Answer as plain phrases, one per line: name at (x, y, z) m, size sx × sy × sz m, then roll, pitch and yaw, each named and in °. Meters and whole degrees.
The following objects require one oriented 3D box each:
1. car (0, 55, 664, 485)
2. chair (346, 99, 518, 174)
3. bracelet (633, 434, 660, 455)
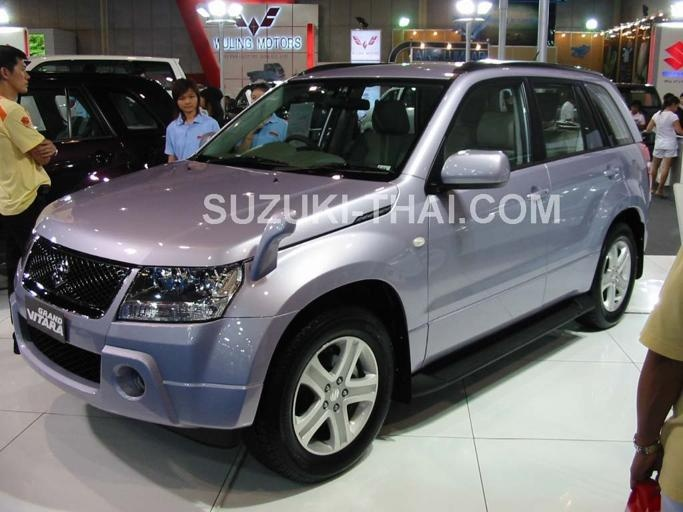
car at (0.172, -0.081, 3.154) m, size 3.662 × 1.889 × 2.271 m, roll -9°, pitch 14°, yaw -41°
chair at (0.576, -0.749, 2.926) m, size 0.898 × 0.576 × 0.550 m, roll 5°, pitch 11°, yaw 3°
bracelet at (0.864, 0.550, 1.382) m, size 0.053 × 0.058 × 0.024 m, roll 8°, pitch 56°, yaw 1°
